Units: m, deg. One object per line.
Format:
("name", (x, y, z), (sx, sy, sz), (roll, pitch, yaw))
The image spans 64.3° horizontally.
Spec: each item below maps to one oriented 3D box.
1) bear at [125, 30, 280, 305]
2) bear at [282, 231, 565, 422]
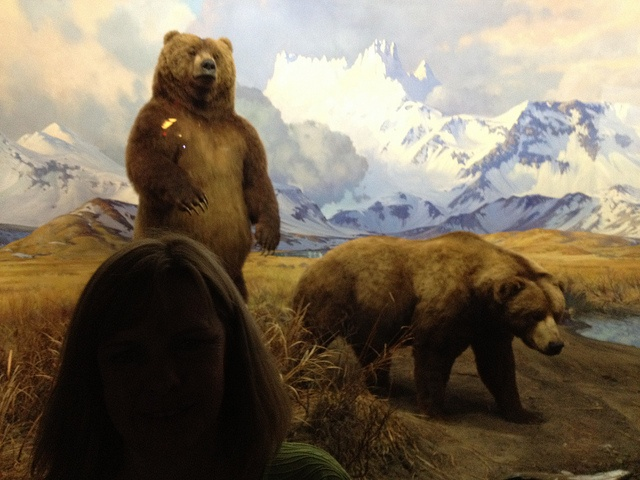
("bear", (-0.863, -0.561, 3.859), (1.130, 2.120, 0.674), (-1, 5, -26))
("bear", (1.042, 0.764, 5.791), (2.804, 2.411, 1.337), (1, 1, 19))
